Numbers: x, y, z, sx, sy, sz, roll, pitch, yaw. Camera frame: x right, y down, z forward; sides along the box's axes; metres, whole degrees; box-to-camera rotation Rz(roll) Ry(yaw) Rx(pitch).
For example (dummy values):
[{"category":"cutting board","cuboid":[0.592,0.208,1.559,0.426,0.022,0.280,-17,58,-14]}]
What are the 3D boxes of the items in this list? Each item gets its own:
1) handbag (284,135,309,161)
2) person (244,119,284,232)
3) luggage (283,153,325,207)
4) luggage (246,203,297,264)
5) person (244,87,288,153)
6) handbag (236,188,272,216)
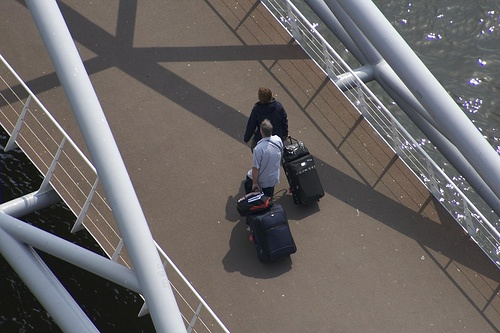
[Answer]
[{"category":"handbag","cuboid":[0.855,-0.352,19.375,0.517,0.512,0.262,-16,-5,-26]},{"category":"person","cuboid":[0.301,-0.121,18.747,0.507,1.526,0.595,-22,16,-41]},{"category":"luggage","cuboid":[1.019,0.294,19.468,0.642,0.984,0.488,-18,6,-30]},{"category":"luggage","cuboid":[0.490,1.312,19.097,0.742,1.085,0.605,-17,-4,-14]},{"category":"person","cuboid":[0.323,-0.619,19.399,0.885,2.010,0.525,-6,36,-9]},{"category":"handbag","cuboid":[0.110,0.693,18.840,0.561,0.394,0.210,-15,-7,3]}]
